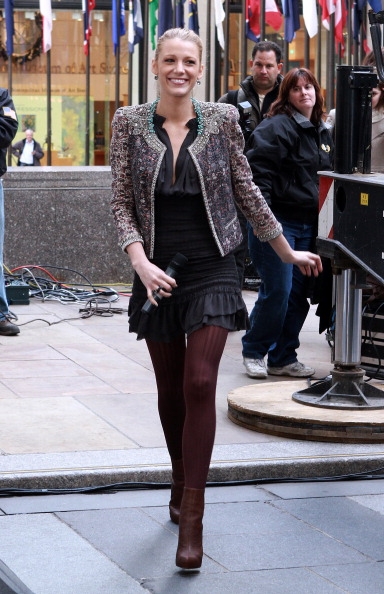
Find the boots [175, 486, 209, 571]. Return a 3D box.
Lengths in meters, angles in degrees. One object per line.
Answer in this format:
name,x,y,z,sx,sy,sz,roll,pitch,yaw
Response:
boots,-0.005,0.672,2.333,0.072,0.213,0.101,3,7,-1

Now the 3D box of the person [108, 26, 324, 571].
person,-0.023,-0.012,2.568,0.509,1.645,0.591,7,8,32

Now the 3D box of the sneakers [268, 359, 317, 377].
sneakers,0.668,0.472,5.306,0.294,0.126,0.113,0,0,7
